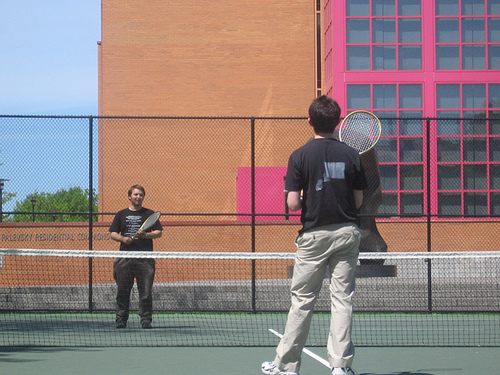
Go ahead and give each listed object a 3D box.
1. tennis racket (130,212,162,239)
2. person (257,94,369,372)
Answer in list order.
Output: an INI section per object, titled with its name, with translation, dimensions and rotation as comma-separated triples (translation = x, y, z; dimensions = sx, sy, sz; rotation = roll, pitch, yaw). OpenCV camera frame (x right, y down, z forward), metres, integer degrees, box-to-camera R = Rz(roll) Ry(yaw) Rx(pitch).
[tennis racket]
translation = -2.023, 0.672, 20.250
dimensions = 0.418, 0.393, 0.253
rotation = 3, -13, -7
[person]
translation = 1.248, 0.749, 17.083
dimensions = 1.342, 4.496, 0.787
rotation = 0, -12, 1
